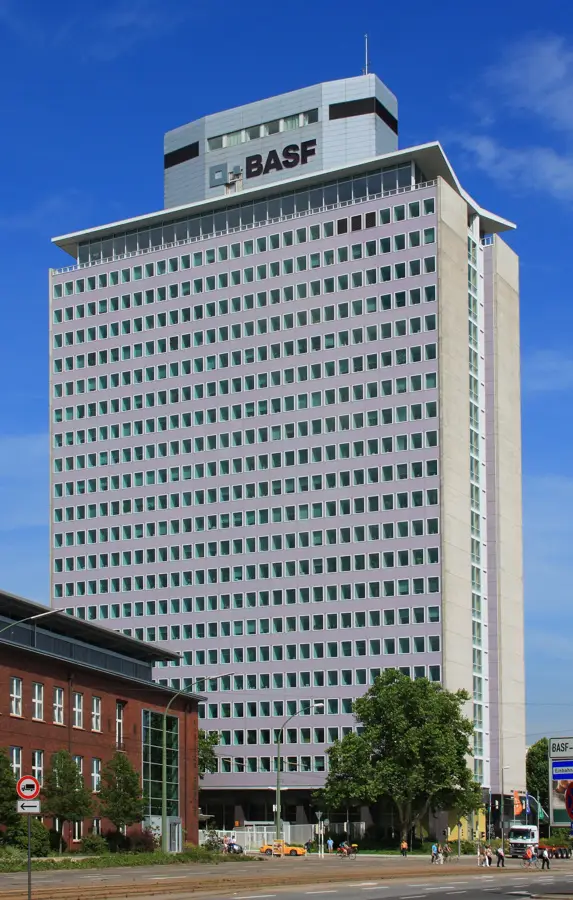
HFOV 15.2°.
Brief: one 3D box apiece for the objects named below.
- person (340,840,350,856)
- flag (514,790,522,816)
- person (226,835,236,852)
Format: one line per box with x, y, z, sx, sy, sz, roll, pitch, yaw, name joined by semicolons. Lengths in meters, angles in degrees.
3.784;26.036;139.702;0.760;0.829;1.210;2;-3;5;person
19.370;29.523;178.502;0.859;1.997;1.723;-4;-11;10;flag
-3.755;25.944;140.466;0.728;1.096;0.380;13;-44;-47;person
